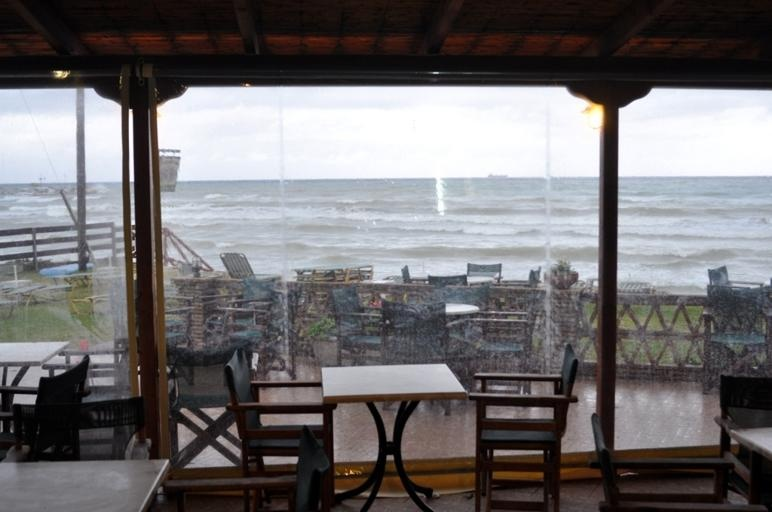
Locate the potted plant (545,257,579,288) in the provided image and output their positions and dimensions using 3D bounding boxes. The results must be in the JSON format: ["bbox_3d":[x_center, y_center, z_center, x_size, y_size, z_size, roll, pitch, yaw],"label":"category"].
[{"bbox_3d":[1.627,0.144,7.899,0.273,0.255,0.270,-3,8,-14],"label":"potted plant"}]

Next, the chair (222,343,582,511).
[{"bbox_3d":[-0.143,1.508,7.265,2.335,1.336,0.952,-1,0,6],"label":"chair"}]
